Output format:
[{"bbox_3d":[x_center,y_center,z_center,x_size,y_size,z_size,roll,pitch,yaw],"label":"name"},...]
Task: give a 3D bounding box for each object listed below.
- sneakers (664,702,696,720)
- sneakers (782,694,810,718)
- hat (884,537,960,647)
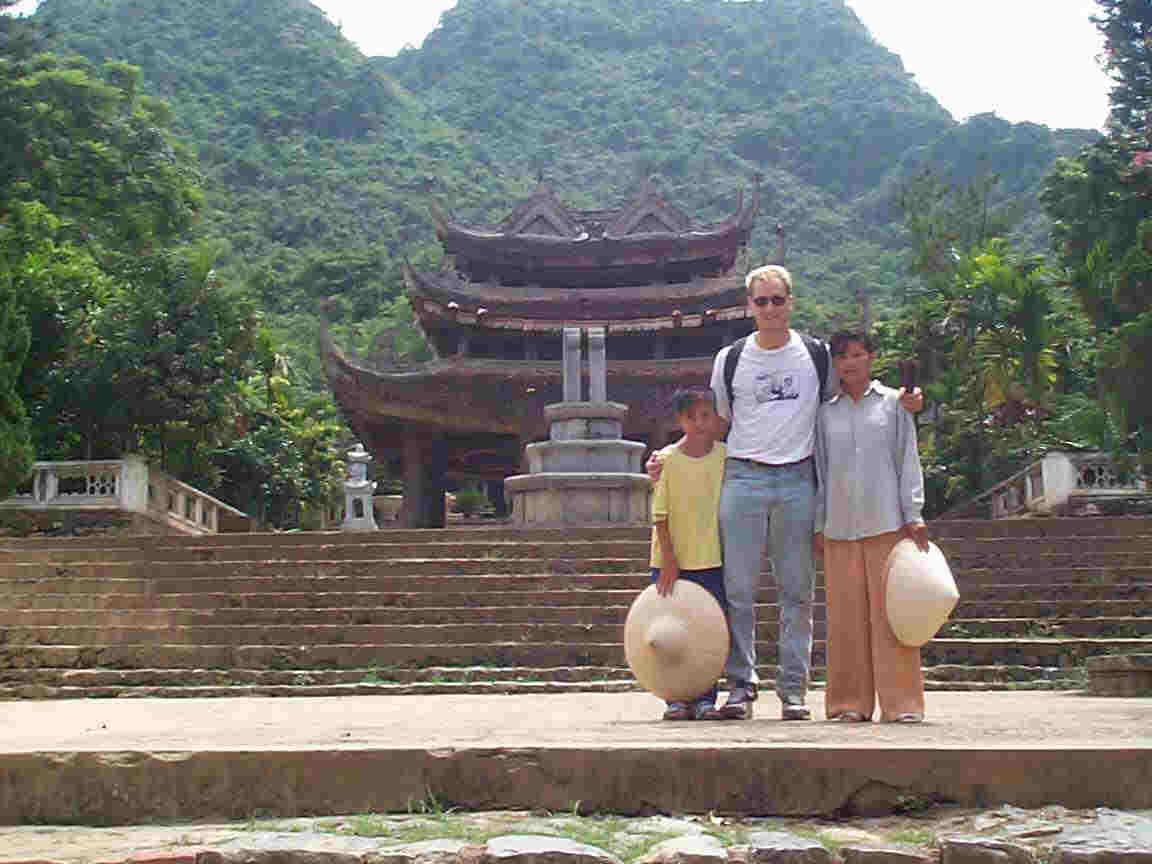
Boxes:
[{"bbox_3d":[0.965,2.531,15.243,0.239,0.155,0.145,27,-32,-30],"label":"sneakers"},{"bbox_3d":[2.020,2.478,15.254,0.234,0.219,0.188,-1,-7,8],"label":"sneakers"},{"bbox_3d":[3.237,1.519,15.321,0.563,0.933,0.970,-13,-1,34],"label":"hat"}]
